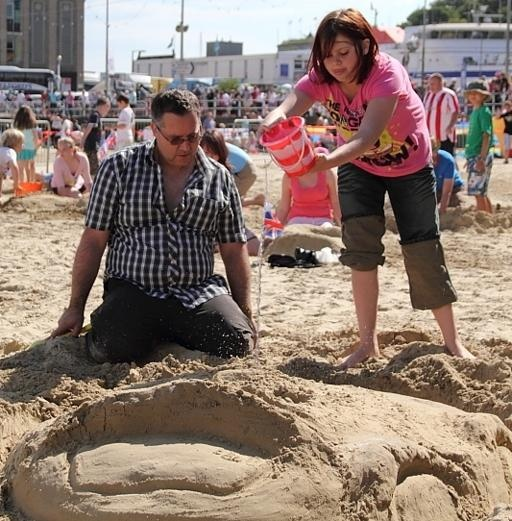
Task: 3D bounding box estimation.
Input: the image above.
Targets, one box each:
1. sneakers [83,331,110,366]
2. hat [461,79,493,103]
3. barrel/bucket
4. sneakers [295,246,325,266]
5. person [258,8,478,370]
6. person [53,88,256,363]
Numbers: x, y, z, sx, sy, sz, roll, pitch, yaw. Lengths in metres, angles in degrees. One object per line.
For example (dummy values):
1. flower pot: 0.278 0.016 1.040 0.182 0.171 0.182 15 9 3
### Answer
1. sneakers: -0.749 0.416 4.523 0.130 0.101 0.138 -13 52 -17
2. hat: 2.188 -1.685 9.357 0.219 0.130 0.249 5 -15 20
3. barrel/bucket: 0.151 -0.479 4.112 0.247 0.199 0.261 -27 28 16
4. sneakers: 0.418 -0.020 7.539 0.133 0.063 0.162 1 30 -5
5. person: 0.547 -0.291 4.338 0.865 1.624 0.567 -1 11 -19
6. person: -0.439 -0.165 4.515 0.972 1.277 0.504 1 10 -12
